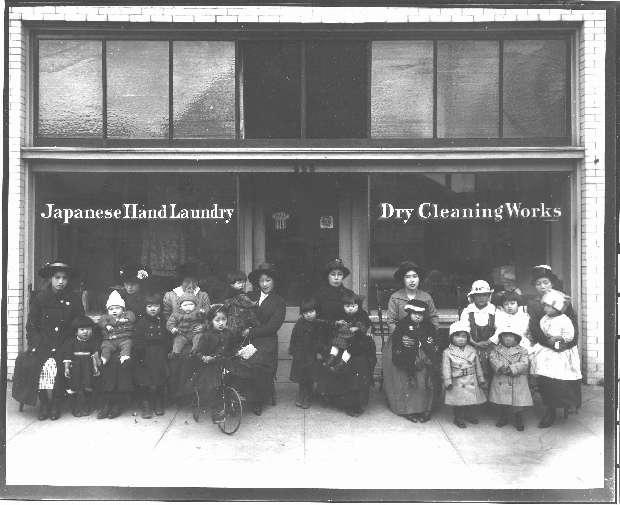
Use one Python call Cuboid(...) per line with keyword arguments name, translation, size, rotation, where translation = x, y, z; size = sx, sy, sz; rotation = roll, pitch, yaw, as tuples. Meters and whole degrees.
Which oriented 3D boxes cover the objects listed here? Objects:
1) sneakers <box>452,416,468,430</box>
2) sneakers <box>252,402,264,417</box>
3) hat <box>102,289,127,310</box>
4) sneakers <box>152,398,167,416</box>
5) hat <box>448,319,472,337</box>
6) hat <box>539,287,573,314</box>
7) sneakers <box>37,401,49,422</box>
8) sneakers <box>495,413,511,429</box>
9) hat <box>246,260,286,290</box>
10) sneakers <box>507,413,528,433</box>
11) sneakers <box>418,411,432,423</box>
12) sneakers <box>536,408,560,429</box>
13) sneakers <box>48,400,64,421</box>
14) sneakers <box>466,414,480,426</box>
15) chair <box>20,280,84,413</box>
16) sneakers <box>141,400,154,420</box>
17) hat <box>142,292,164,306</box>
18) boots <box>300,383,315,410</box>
Cuboid(name="sneakers", translation=(1.679, 1.877, 10.664), size=(0.140, 0.119, 0.072), rotation=(-2, 2, 11))
Cuboid(name="sneakers", translation=(-0.588, 1.747, 10.741), size=(0.107, 0.127, 0.294), rotation=(1, -8, -11))
Cuboid(name="hat", translation=(-2.236, 0.531, 10.927), size=(0.197, 0.218, 0.194), rotation=(-1, -6, 3))
Cuboid(name="sneakers", translation=(-1.686, 1.723, 10.749), size=(0.118, 0.146, 0.066), rotation=(-3, 1, -10))
Cuboid(name="hat", translation=(1.699, 0.849, 10.857), size=(0.225, 0.147, 0.233), rotation=(-2, 2, 13))
Cuboid(name="hat", translation=(2.805, 0.545, 10.886), size=(0.295, 0.234, 0.217), rotation=(0, 17, -36))
Cuboid(name="sneakers", translation=(-2.966, 1.746, 10.639), size=(0.121, 0.175, 0.082), rotation=(-2, 1, -4))
Cuboid(name="sneakers", translation=(2.147, 1.851, 10.630), size=(0.235, 0.169, 0.087), rotation=(1, 6, 14))
Cuboid(name="hat", translation=(-0.505, 0.275, 11.132), size=(0.323, 0.328, 0.082), rotation=(5, -1, -1))
Cuboid(name="sneakers", translation=(2.312, 1.849, 10.614), size=(0.188, 0.212, 0.136), rotation=(-2, 2, -2))
Cuboid(name="sneakers", translation=(1.307, 1.829, 10.768), size=(0.206, 0.108, 0.071), rotation=(-4, 2, -34))
Cuboid(name="sneakers", translation=(2.646, 1.818, 10.629), size=(0.220, 0.212, 0.132), rotation=(-2, 2, 11))
Cuboid(name="sneakers", translation=(-2.828, 1.734, 10.658), size=(0.163, 0.179, 0.061), rotation=(-3, 1, -18))
Cuboid(name="sneakers", translation=(1.813, 1.845, 10.685), size=(0.182, 0.113, 0.061), rotation=(-4, 14, 17))
Cuboid(name="chair", translation=(-2.848, 1.061, 10.904), size=(0.572, 1.797, 0.491), rotation=(-2, -8, -1))
Cuboid(name="sneakers", translation=(-1.816, 1.732, 10.732), size=(0.155, 0.173, 0.059), rotation=(-3, 1, -9))
Cuboid(name="hat", translation=(-1.802, 0.542, 11.011), size=(0.155, 0.150, 0.038), rotation=(6, -24, -11))
Cuboid(name="boots", translation=(-0.039, 1.602, 10.880), size=(0.204, 0.364, 0.243), rotation=(2, -12, 2))
